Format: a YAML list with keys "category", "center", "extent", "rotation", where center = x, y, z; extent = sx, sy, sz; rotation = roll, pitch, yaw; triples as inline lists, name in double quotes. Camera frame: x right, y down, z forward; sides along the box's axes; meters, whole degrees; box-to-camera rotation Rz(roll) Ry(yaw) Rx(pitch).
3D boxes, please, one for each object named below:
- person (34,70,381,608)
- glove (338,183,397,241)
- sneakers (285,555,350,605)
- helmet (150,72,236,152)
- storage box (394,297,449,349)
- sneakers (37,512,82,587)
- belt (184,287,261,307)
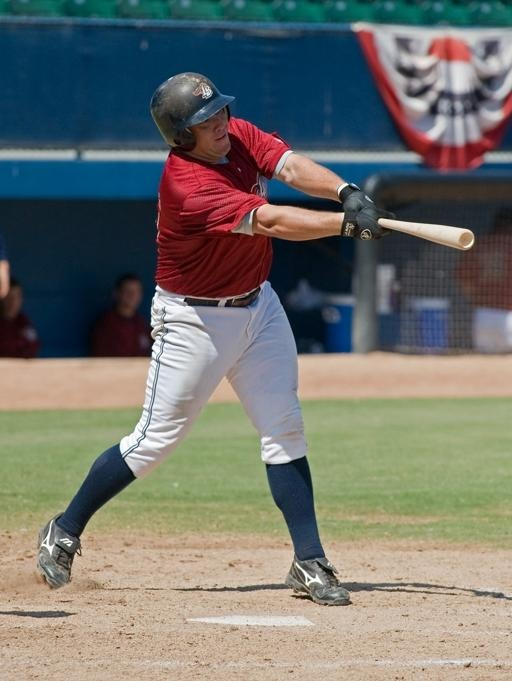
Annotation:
- category: "person"
  center: [-0.102, -0.002, 3.511]
  extent: [1.059, 1.562, 0.549]
  rotation: [1, 6, 17]
- category: "glove"
  center: [0.280, -0.336, 3.176]
  extent: [0.188, 0.069, 0.168]
  rotation: [14, 31, 1]
- category: "sneakers"
  center: [0.181, 0.709, 3.543]
  extent: [0.087, 0.099, 0.228]
  rotation: [-1, 7, -43]
- category: "helmet"
  center: [-0.203, -0.663, 3.434]
  extent: [0.255, 0.235, 0.184]
  rotation: [1, 5, 13]
- category: "storage box"
  center: [0.677, -0.075, 4.751]
  extent: [0.185, 0.066, 0.275]
  rotation: [-1, 15, 9]
- category: "sneakers"
  center: [-0.592, 0.662, 3.630]
  extent: [0.133, 0.247, 0.090]
  rotation: [-27, -35, 16]
- category: "belt"
  center: [-0.102, -0.118, 3.499]
  extent: [0.241, 0.046, 0.085]
  rotation: [-1, 5, -13]
